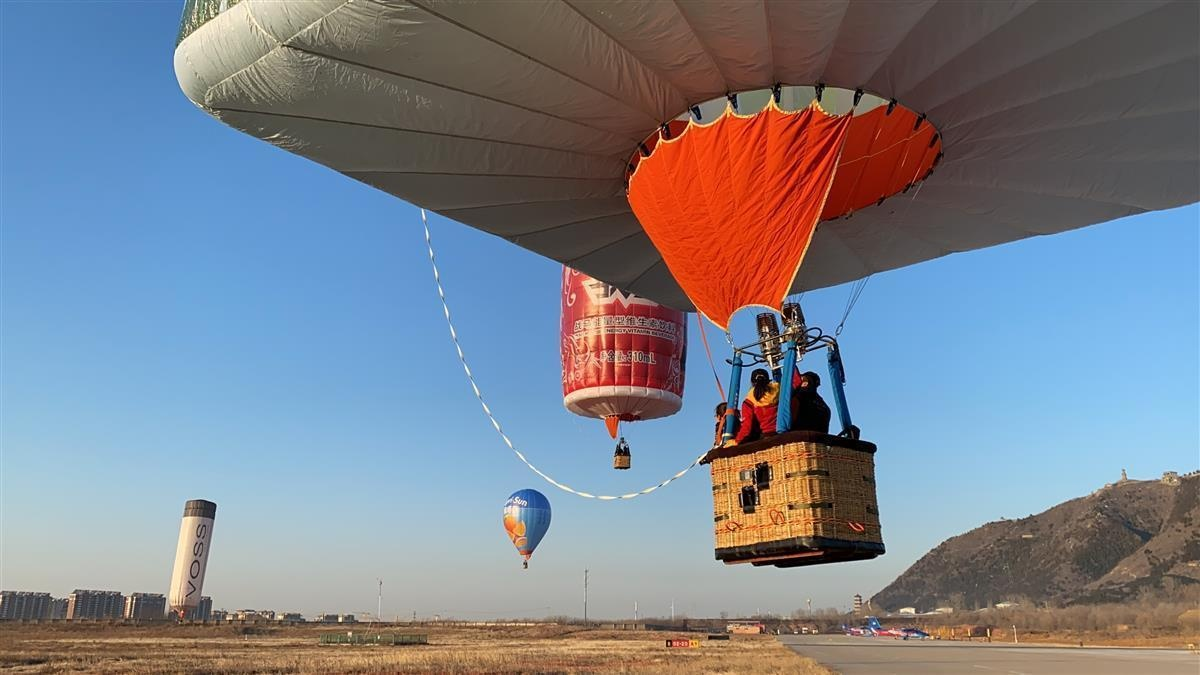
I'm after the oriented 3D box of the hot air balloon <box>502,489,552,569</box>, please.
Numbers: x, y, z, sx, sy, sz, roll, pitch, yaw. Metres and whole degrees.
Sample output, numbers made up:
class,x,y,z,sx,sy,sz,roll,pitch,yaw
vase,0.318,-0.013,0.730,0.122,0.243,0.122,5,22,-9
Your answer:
class,x,y,z,sx,sy,sz,roll,pitch,yaw
hot air balloon,-3.458,9.302,45.915,2.729,3.570,2.525,11,-25,-22
